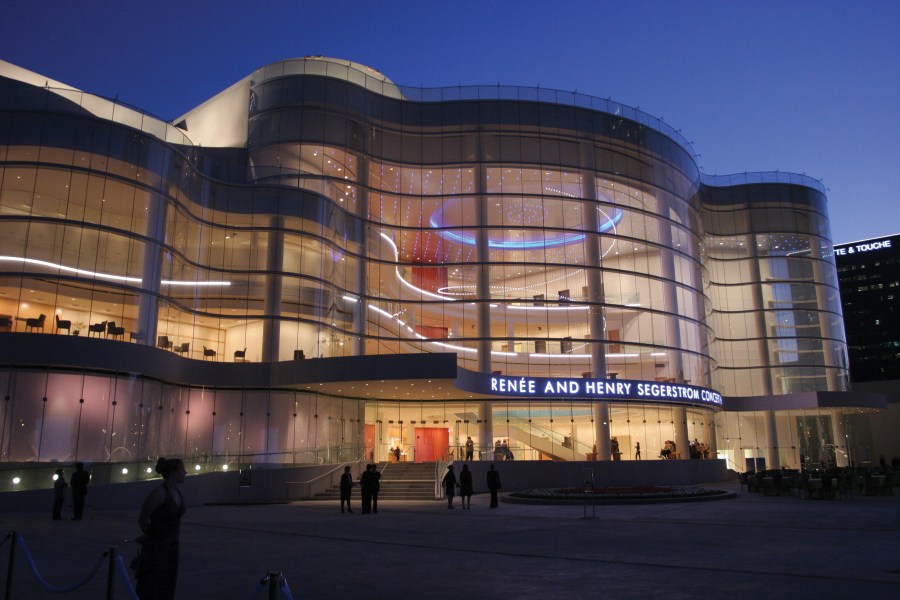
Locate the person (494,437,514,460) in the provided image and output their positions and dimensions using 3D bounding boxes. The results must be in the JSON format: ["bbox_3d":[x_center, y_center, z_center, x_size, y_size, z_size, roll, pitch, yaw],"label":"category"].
[{"bbox_3d":[3.352,9.109,49.238,0.922,0.910,1.684,3,3,-1],"label":"person"}]

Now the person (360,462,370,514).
[{"bbox_3d":[-3.519,8.069,33.263,0.421,1.634,1.093,1,0,-7],"label":"person"}]
